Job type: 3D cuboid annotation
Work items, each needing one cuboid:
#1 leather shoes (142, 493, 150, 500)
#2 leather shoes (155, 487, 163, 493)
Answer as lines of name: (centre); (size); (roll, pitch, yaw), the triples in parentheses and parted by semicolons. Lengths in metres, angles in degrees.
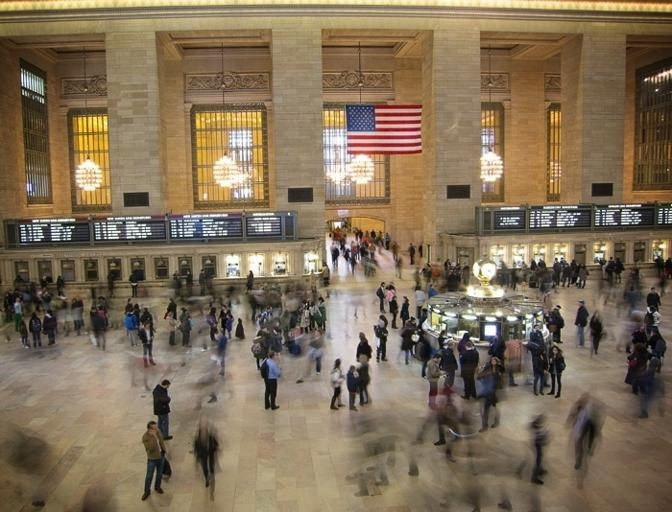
leather shoes: (-4.227, 5.330, 13.722); (0.148, 0.123, 0.116); (-6, 15, -18)
leather shoes: (-3.965, 5.262, 13.865); (0.151, 0.158, 0.077); (0, 18, -1)
